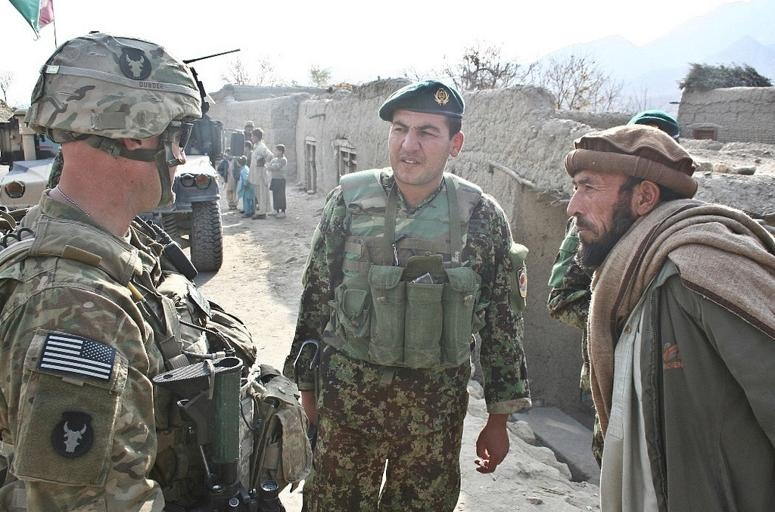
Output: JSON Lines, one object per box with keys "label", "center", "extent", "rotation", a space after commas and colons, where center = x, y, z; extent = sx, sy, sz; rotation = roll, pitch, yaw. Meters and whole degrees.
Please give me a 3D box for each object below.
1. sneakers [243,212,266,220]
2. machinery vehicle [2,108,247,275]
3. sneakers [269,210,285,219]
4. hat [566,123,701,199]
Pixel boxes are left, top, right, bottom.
{"label": "sneakers", "center": [-2.492, -0.744, 12.867], "extent": [0.438, 0.180, 0.153], "rotation": [-3, 6, -24]}
{"label": "machinery vehicle", "center": [-2.947, -0.815, 8.171], "extent": [1.922, 1.836, 2.994], "rotation": [2, 22, -6]}
{"label": "sneakers", "center": [-2.099, -0.787, 13.095], "extent": [0.395, 0.153, 0.144], "rotation": [10, 14, 23]}
{"label": "hat", "center": [0.962, -0.355, 2.677], "extent": [0.380, 0.162, 0.305], "rotation": [22, 3, 4]}
